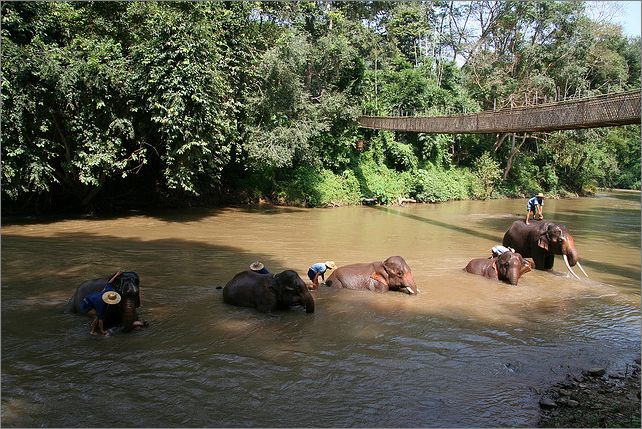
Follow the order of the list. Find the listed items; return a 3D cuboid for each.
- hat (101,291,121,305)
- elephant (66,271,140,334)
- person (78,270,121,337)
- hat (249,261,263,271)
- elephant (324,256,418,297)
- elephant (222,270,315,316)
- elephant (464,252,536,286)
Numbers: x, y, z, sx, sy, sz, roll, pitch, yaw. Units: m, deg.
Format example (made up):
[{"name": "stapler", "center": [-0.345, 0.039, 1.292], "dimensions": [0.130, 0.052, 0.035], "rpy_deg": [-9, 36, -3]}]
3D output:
[{"name": "hat", "center": [-4.344, 1.734, 10.121], "dimensions": [0.349, 0.282, 0.194], "rpy_deg": [-3, 4, -22]}, {"name": "elephant", "center": [-4.890, 1.861, 10.436], "dimensions": [1.866, 1.122, 0.889], "rpy_deg": [-4, -7, 24]}, {"name": "person", "center": [-4.688, 1.905, 10.392], "dimensions": [1.174, 1.204, 0.478], "rpy_deg": [1, 5, 29]}, {"name": "hat", "center": [-1.601, 1.286, 12.151], "dimensions": [0.325, 0.187, 0.349], "rpy_deg": [-1, 4, -6]}, {"name": "elephant", "center": [1.395, 1.658, 13.200], "dimensions": [2.427, 1.201, 0.994], "rpy_deg": [-4, 7, 11]}, {"name": "elephant", "center": [-1.334, 1.822, 11.425], "dimensions": [2.090, 1.017, 0.921], "rpy_deg": [3, 13, 12]}, {"name": "elephant", "center": [5.105, 1.459, 14.020], "dimensions": [1.407, 0.719, 0.957], "rpy_deg": [8, -15, 45]}]
